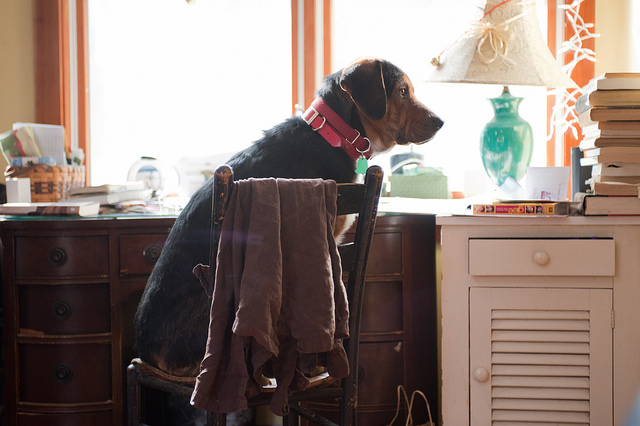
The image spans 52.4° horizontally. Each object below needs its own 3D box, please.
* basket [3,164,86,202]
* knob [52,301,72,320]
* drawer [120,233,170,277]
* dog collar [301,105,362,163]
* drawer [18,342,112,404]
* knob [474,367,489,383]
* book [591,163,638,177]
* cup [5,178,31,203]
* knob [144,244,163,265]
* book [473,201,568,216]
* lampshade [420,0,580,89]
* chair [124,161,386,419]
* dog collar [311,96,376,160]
[{"bbox_3d":[-1.341,-0.148,3.175,0.357,0.177,0.125,-1,3,-23],"label":"basket"},{"bbox_3d":[-1.134,0.426,2.843,0.073,0.080,0.022,2,1,-2],"label":"knob"},{"bbox_3d":[-0.794,0.146,2.934,0.232,0.240,0.171,0,4,-23],"label":"drawer"},{"bbox_3d":[0.029,-0.290,2.627,0.230,0.071,0.169,43,3,-11],"label":"dog collar"},{"bbox_3d":[-1.146,0.706,3.015,0.356,0.280,0.359,-1,-3,44],"label":"drawer"},{"bbox_3d":[0.645,0.649,2.621,0.050,0.053,0.031,28,2,6],"label":"knob"},{"bbox_3d":[1.226,-0.181,2.713,0.173,0.054,0.075,1,3,26],"label":"book"},{"bbox_3d":[-1.443,-0.107,3.096,0.109,0.165,0.113,1,3,0],"label":"cup"},{"bbox_3d":[-0.743,0.178,2.872,0.080,0.087,0.022,-7,12,-8],"label":"knob"},{"bbox_3d":[0.804,-0.020,2.618,0.377,0.056,0.050,0,3,-1],"label":"book"},{"bbox_3d":[0.780,-0.719,2.882,0.459,0.274,0.450,2,5,32],"label":"lampshade"},{"bbox_3d":[-0.085,0.295,2.794,0.828,1.440,1.082,1,2,6],"label":"chair"},{"bbox_3d":[0.101,-0.334,2.632,0.251,0.077,0.186,47,-2,15],"label":"dog collar"}]
